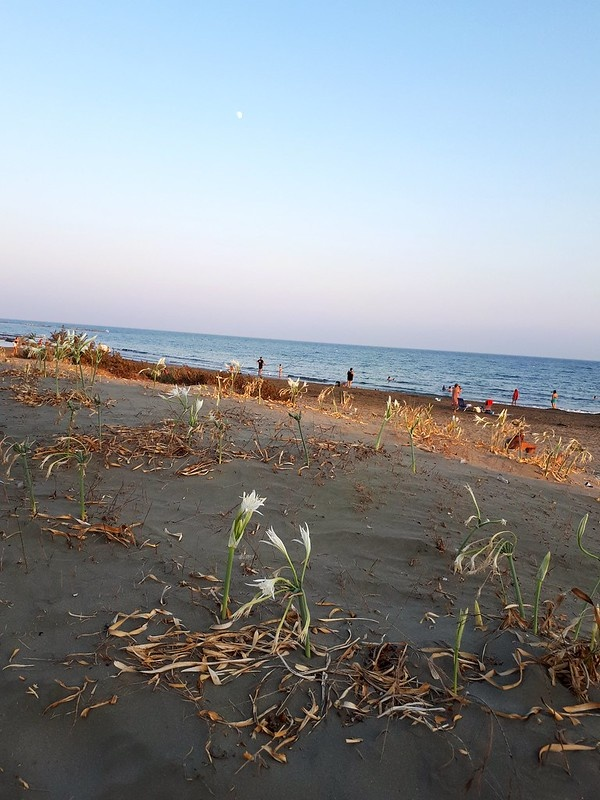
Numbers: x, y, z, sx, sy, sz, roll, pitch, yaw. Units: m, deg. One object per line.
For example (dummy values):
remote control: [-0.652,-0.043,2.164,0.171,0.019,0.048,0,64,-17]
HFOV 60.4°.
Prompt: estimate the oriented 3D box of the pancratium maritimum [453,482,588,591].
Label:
pancratium maritimum: [1.356,1.049,3.813,0.353,0.829,0.811,6,-17,-9]
